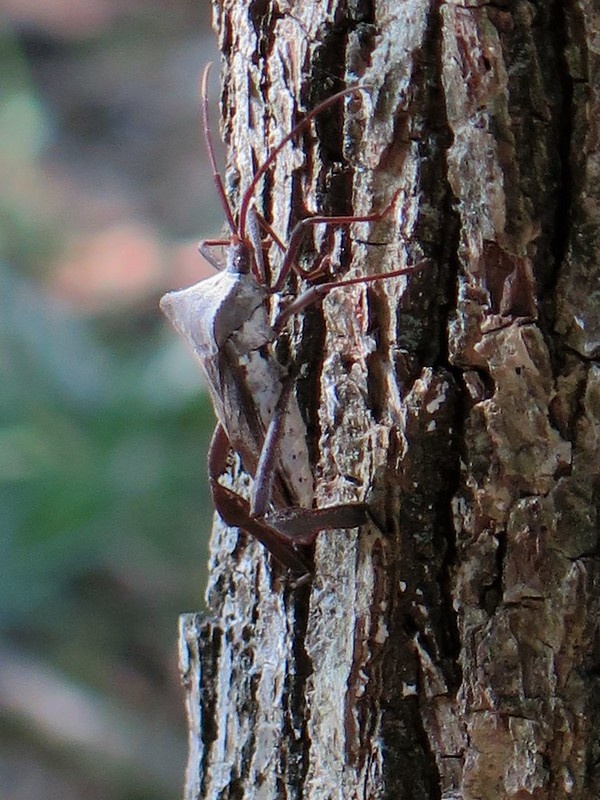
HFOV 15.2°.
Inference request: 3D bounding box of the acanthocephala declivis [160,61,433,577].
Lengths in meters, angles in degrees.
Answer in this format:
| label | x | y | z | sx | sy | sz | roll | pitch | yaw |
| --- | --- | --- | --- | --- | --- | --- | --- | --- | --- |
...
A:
| label | x | y | z | sx | sy | sz | roll | pitch | yaw |
| --- | --- | --- | --- | --- | --- | --- | --- | --- | --- |
| acanthocephala declivis | -0.020 | -0.058 | 1.766 | 0.158 | 0.191 | 0.434 | -11 | -68 | -4 |
